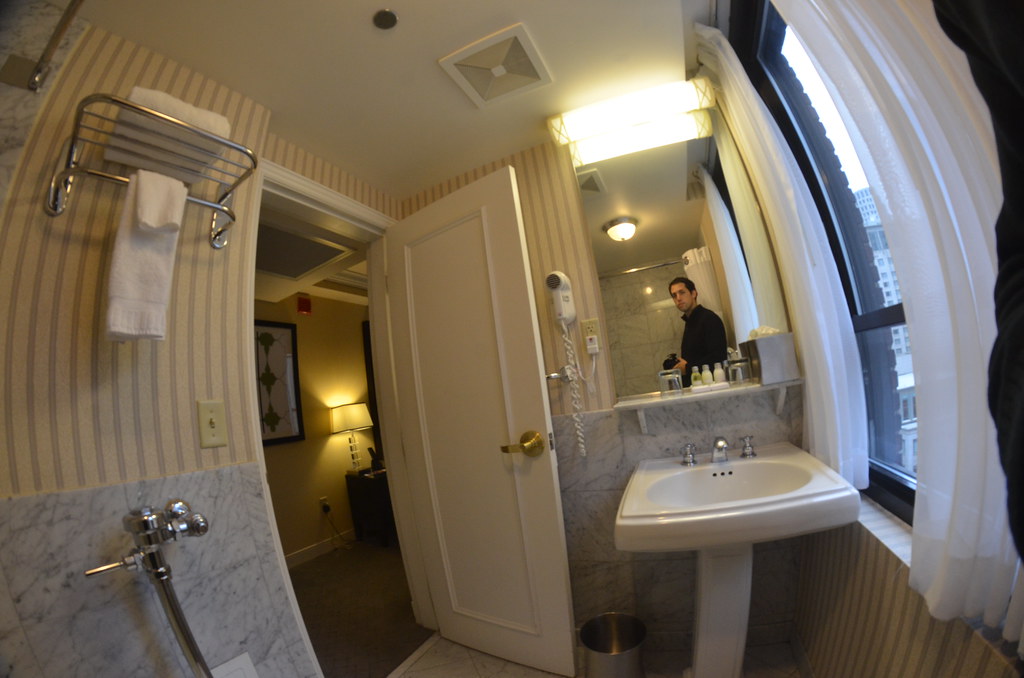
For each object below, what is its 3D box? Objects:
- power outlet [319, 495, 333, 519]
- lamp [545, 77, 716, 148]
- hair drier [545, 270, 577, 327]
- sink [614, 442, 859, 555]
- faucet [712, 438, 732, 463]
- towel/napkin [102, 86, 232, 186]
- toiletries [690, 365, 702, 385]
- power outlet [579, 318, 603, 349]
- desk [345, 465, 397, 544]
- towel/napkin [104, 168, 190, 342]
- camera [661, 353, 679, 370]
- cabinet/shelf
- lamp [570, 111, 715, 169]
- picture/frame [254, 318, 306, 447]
[{"bbox_3d":[-1.458,1.329,4.843,0.079,0.142,0.042,-4,-8,-32],"label":"power outlet"},{"bbox_3d":[0.561,-1.079,2.946,0.770,0.140,0.095,-10,-3,8],"label":"lamp"},{"bbox_3d":[0.249,-0.187,2.992,0.082,0.227,0.184,-12,-4,40],"label":"hair drier"},{"bbox_3d":[0.830,0.633,2.498,0.871,0.353,0.620,-10,-3,5],"label":"sink"},{"bbox_3d":[0.913,0.499,2.755,0.086,0.118,0.085,3,-8,-36],"label":"faucet"},{"bbox_3d":[-1.275,-0.692,2.319,0.434,0.339,0.381,11,-3,-36],"label":"towel/napkin"},{"bbox_3d":[0.869,0.179,2.917,0.067,0.124,0.070,0,-5,18],"label":"toiletries"},{"bbox_3d":[0.384,-0.011,3.000,0.095,0.150,0.049,-9,-3,9],"label":"power outlet"},{"bbox_3d":[-1.099,1.317,4.859,0.199,0.398,0.634,-6,-4,-36],"label":"desk"},{"bbox_3d":[-1.279,-0.290,2.164,0.286,0.576,0.126,-7,-4,-23],"label":"towel/napkin"},{"bbox_3d":[0.761,0.096,2.971,0.080,0.082,0.051,-6,-6,29],"label":"camera"},{"bbox_3d":[-1.312,-0.678,2.269,0.699,0.509,0.276,7,18,-44],"label":"cabinet/shelf"},{"bbox_3d":[0.628,-0.970,3.103,0.739,0.193,0.253,-15,19,15],"label":"lamp"},{"bbox_3d":[-1.768,0.320,4.687,0.055,0.946,0.439,-10,-4,28],"label":"picture/frame"}]
